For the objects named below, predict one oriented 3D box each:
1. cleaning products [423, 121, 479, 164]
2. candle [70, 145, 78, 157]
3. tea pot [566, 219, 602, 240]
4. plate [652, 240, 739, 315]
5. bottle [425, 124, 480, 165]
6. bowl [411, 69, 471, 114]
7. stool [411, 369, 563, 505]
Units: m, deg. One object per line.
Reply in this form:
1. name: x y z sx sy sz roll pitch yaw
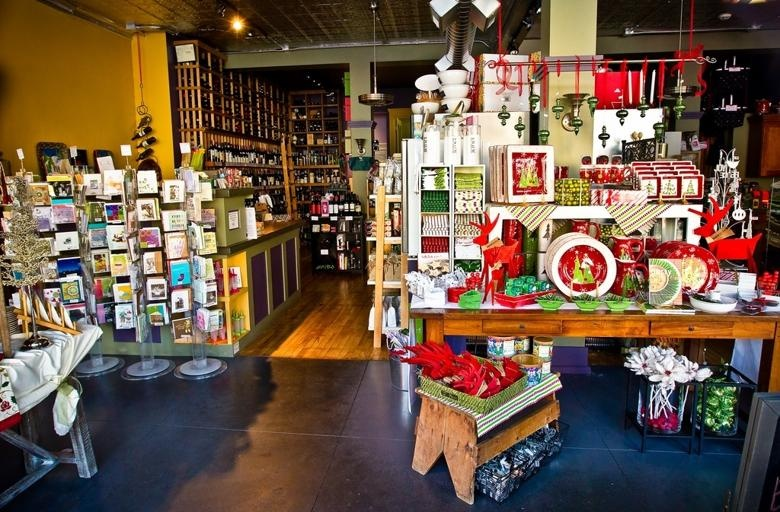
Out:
1. cleaning products: 0.638 -1.164 5.472 0.498 0.448 0.189 0 3 -1
2. candle: -4.772 -1.564 7.887 0.093 0.168 0.188 -6 13 -21
3. tea pot: 1.889 -0.264 5.057 0.251 0.234 0.177 2 14 29
4. plate: 2.605 0.157 4.542 0.724 0.534 0.476 2 13 13
5. bottle: 0.648 -1.179 5.516 0.594 0.434 0.416 0 13 5
6. bowl: 0.576 -1.834 6.033 0.476 0.374 0.726 -6 12 -19
7. stool: 0.803 1.069 4.251 0.877 0.699 1.337 4 8 37
